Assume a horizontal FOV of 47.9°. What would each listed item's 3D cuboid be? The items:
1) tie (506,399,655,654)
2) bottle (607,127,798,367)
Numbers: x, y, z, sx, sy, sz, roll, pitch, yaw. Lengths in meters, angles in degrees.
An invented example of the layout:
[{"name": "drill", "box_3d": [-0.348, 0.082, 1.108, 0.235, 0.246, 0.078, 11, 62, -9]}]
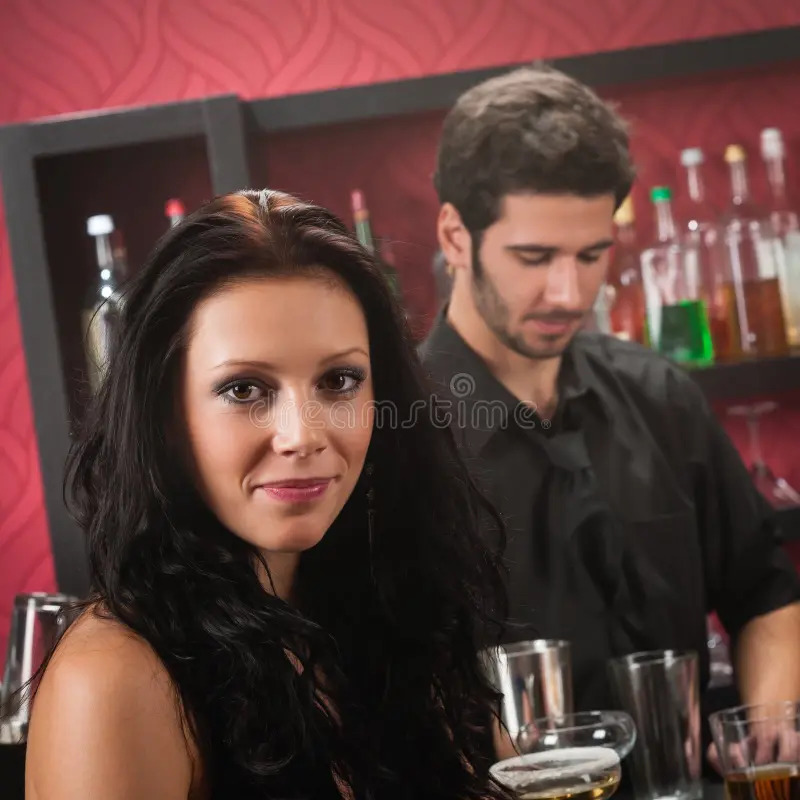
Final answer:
[{"name": "tie", "box_3d": [0.206, 0.146, 1.074, 0.219, 0.283, 0.071, -2, 4, -20]}, {"name": "bottle", "box_3d": [0.366, -0.186, 1.115, 0.250, 0.328, 0.105, -11, 13, -12]}]
